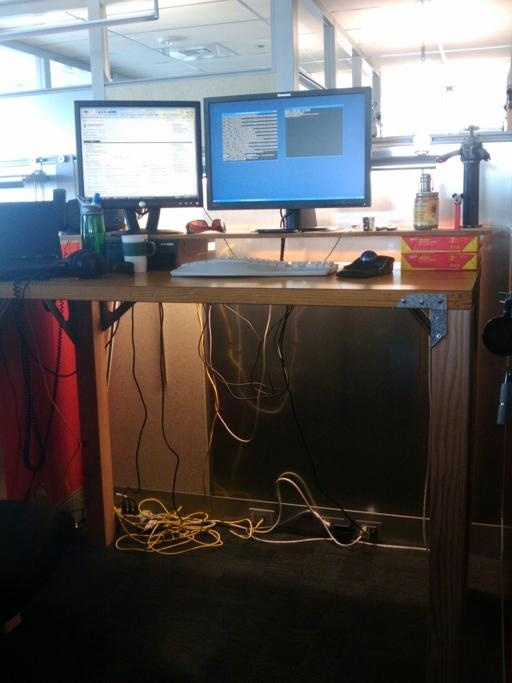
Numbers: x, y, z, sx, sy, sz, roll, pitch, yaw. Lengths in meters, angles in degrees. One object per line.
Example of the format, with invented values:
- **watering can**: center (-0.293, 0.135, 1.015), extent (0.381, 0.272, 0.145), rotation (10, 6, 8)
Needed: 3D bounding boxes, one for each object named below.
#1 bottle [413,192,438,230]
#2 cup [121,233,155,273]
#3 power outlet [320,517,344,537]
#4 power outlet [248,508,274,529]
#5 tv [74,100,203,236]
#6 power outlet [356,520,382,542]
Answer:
- **bottle**: center (0.446, -0.342, 1.562), extent (0.059, 0.098, 0.045), rotation (0, 7, 11)
- **cup**: center (-0.285, -0.205, 1.415), extent (0.099, 0.104, 0.070), rotation (-2, 9, -17)
- **power outlet**: center (0.247, 0.615, 1.953), extent (0.058, 0.044, 0.012), rotation (24, 3, 30)
- **power outlet**: center (0.020, 0.616, 2.064), extent (0.061, 0.061, 0.015), rotation (2, -12, 16)
- **tv**: center (-0.339, -0.514, 1.768), extent (0.364, 0.406, 0.109), rotation (-3, -5, -7)
- **power outlet**: center (0.370, 0.616, 1.932), extent (0.058, 0.059, 0.014), rotation (2, -8, 18)
